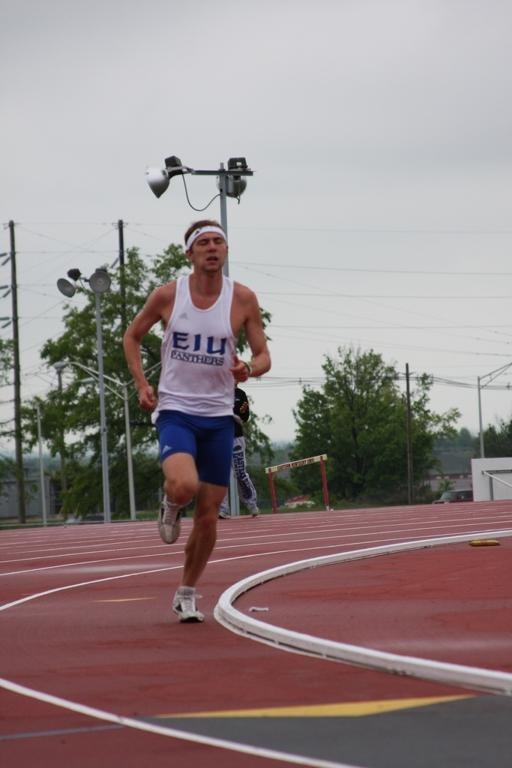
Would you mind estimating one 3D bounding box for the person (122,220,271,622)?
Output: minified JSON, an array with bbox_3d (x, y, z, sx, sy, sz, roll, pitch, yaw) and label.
[{"bbox_3d":[-0.234,0.122,3.952,0.629,1.949,0.554,0,-6,-14],"label":"person"}]
